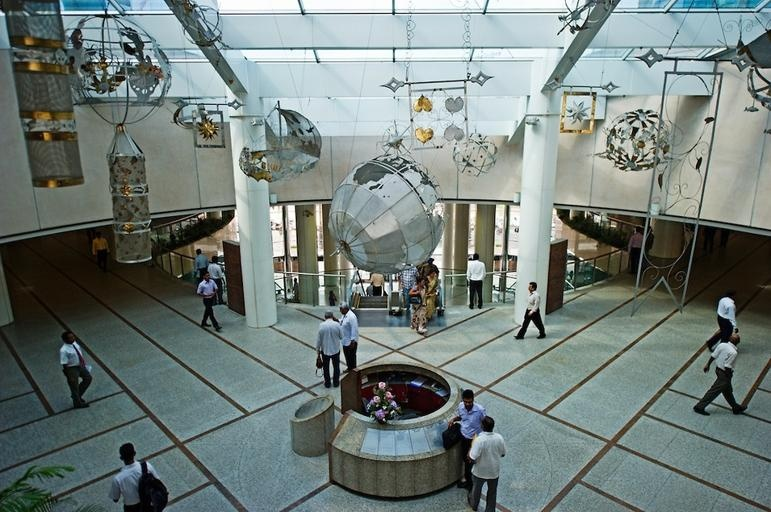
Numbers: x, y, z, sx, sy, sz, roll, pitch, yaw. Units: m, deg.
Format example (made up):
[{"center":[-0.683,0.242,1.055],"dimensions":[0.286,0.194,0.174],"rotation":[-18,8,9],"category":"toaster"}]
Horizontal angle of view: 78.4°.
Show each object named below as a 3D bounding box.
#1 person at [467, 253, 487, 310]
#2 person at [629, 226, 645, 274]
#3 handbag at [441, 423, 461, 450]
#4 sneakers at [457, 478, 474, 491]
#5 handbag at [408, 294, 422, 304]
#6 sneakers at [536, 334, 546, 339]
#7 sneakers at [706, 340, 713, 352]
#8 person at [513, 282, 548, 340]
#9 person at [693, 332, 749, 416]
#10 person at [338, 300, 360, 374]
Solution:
[{"center":[3.405,0.927,18.022],"dimensions":[0.706,2.234,0.668],"rotation":[-5,24,-3],"category":"person"},{"center":[11.180,-0.081,21.423],"dimensions":[0.463,1.862,0.523],"rotation":[6,20,20],"category":"person"},{"center":[1.365,3.760,9.791],"dimensions":[0.482,0.462,0.197],"rotation":[-18,6,-35],"category":"handbag"},{"center":[1.675,4.771,10.014],"dimensions":[0.404,0.299,0.157],"rotation":[5,20,7],"category":"sneakers"},{"center":[1.027,1.464,15.801],"dimensions":[0.382,0.294,0.264],"rotation":[-1,5,16],"category":"handbag"},{"center":[5.036,2.618,15.397],"dimensions":[0.290,0.215,0.116],"rotation":[6,22,13],"category":"sneakers"},{"center":[9.757,2.703,14.305],"dimensions":[0.160,0.422,0.243],"rotation":[0,-12,14],"category":"sneakers"},{"center":[4.788,1.635,15.404],"dimensions":[0.955,2.033,1.290],"rotation":[6,20,19],"category":"person"},{"center":[8.257,2.916,11.669],"dimensions":[1.411,1.962,1.013],"rotation":[2,8,-1],"category":"person"},{"center":[-0.966,2.180,12.672],"dimensions":[0.443,1.860,0.896],"rotation":[-3,19,-6],"category":"person"}]
